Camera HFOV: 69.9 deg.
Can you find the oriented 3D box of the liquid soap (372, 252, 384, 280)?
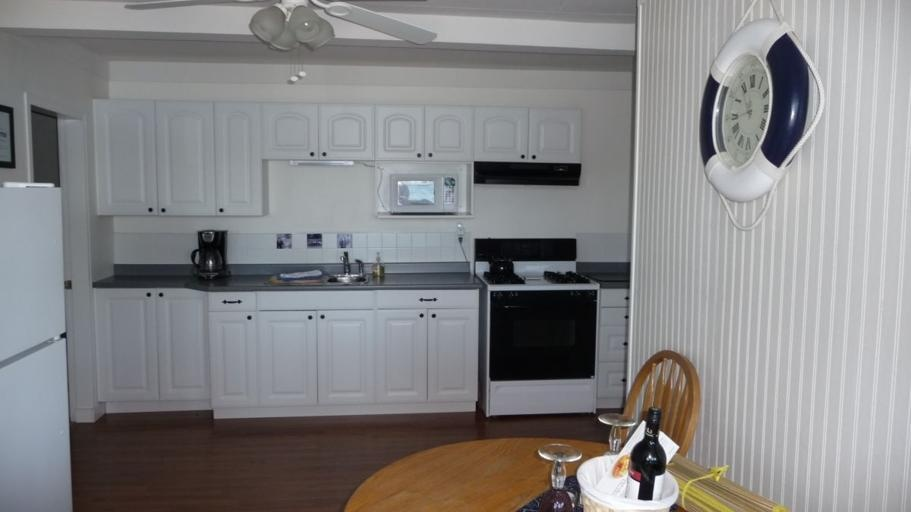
[{"bbox_3d":[-0.748,0.087,6.235,0.121,0.217,0.233,-2,4,-7],"label":"liquid soap"}]

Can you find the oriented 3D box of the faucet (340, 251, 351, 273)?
[{"bbox_3d":[-1.057,0.063,6.232,0.085,0.210,0.181,-2,4,-9],"label":"faucet"}]

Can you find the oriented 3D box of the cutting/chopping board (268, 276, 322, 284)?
[{"bbox_3d":[-1.443,0.224,5.831,0.455,0.057,0.302,-2,4,-13],"label":"cutting/chopping board"}]

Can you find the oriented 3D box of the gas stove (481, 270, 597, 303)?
[{"bbox_3d":[0.756,0.270,6.028,1.039,0.195,0.595,-1,4,-4],"label":"gas stove"}]

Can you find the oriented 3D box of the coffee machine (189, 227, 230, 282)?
[{"bbox_3d":[-2.286,-0.010,6.027,0.318,0.447,0.374,-2,4,-19],"label":"coffee machine"}]

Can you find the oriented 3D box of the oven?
[{"bbox_3d":[0.665,0.836,6.196,1.086,1.208,0.885,0,2,-13],"label":"oven"}]

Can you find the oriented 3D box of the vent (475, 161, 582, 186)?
[{"bbox_3d":[0.667,-0.782,6.101,0.996,0.214,0.140,-1,4,1],"label":"vent"}]

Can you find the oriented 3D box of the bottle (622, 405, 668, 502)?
[{"bbox_3d":[0.854,0.887,2.918,0.202,0.412,0.143,-2,5,-11],"label":"bottle"}]
